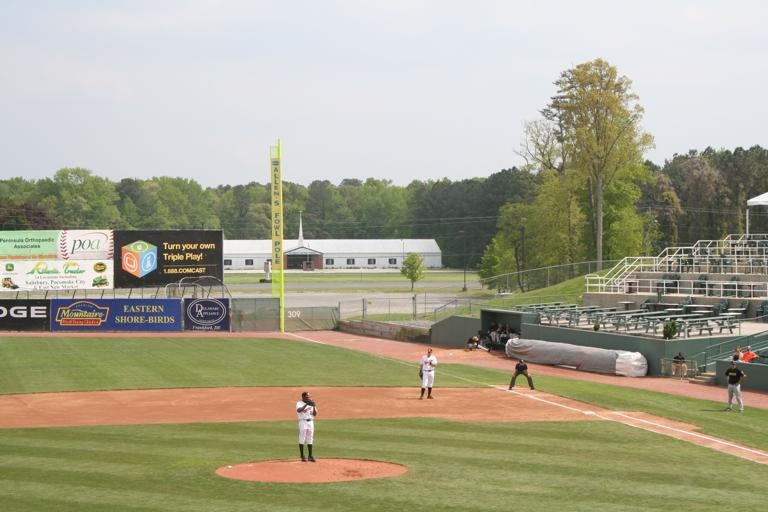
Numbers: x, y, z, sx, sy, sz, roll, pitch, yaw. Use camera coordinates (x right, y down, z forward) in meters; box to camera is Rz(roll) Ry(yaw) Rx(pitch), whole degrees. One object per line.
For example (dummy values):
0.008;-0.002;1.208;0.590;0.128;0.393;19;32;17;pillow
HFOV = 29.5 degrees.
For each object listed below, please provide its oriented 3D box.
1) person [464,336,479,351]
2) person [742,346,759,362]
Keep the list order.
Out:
7.455;7.433;121.840;0.892;1.116;0.447;1;4;26;person
26.697;7.306;106.477;1.127;1.066;0.408;-2;-33;16;person
